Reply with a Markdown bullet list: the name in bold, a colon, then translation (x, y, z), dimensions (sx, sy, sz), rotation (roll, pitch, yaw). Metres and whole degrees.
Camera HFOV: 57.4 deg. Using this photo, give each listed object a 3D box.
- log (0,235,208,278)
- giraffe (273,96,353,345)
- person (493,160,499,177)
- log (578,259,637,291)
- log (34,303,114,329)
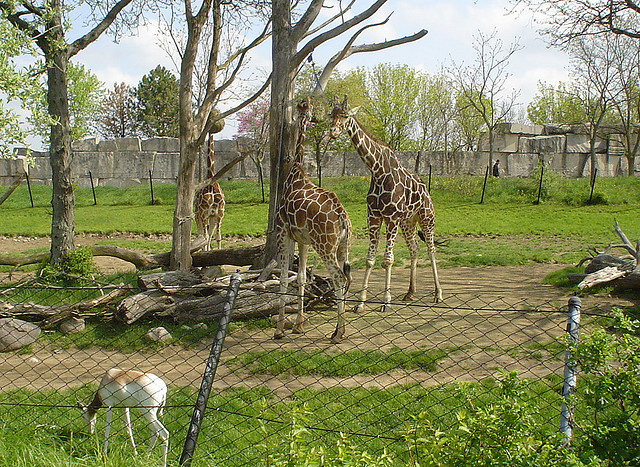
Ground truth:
- **log**: translation (-5.075, 0.559, 13.712), dimensions (4.300, 0.785, 0.437), rotation (-4, 24, -20)
- **giraffe**: translation (-0.100, -0.344, 9.875), dimensions (1.320, 4.160, 1.934), rotation (1, 4, -3)
- **person**: translation (10.923, -4.031, 36.217), dimensions (0.277, 0.983, 1.489), rotation (2, 4, 14)
- **log**: translation (5.309, 0.730, 10.801), dimensions (1.487, 0.471, 0.352), rotation (-1, 5, -29)
- **log**: translation (-4.154, 1.402, 9.873), dimensions (1.233, 0.415, 0.383), rotation (-1, 5, -24)
